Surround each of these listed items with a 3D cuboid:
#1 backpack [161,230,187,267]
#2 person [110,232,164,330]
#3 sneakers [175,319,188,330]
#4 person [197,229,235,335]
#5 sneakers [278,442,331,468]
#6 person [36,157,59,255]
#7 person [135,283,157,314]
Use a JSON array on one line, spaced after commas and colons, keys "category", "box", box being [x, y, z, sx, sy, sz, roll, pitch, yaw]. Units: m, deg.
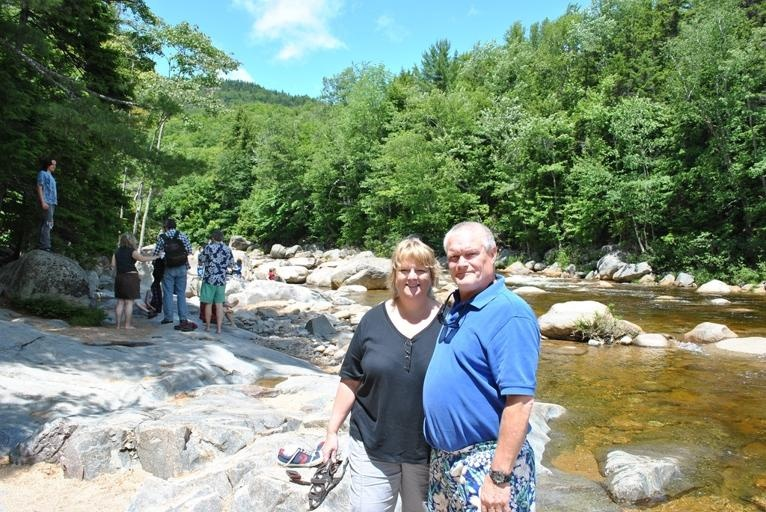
[{"category": "backpack", "box": [-4.944, -0.172, 12.010, 0.565, 0.811, 0.483, -11, 14, -14]}, {"category": "person", "box": [-5.868, 0.539, 11.679, 0.712, 2.205, 1.600, 3, -5, -27]}, {"category": "sneakers", "box": [-4.628, 1.574, 11.558, 0.250, 0.209, 0.317, 2, -5, -22]}, {"category": "person", "box": [-3.865, 0.608, 11.672, 0.780, 2.369, 0.929, 2, -4, -19]}, {"category": "sneakers", "box": [-0.831, 2.100, 5.322, 0.497, 0.214, 0.232, -2, 22, -2]}, {"category": "person", "box": [-8.281, -1.291, 12.436, 0.366, 2.343, 0.664, 3, -5, -31]}, {"category": "person", "box": [-6.349, 1.155, 13.532, 0.388, 0.822, 0.598, 1, -35, -1]}]
